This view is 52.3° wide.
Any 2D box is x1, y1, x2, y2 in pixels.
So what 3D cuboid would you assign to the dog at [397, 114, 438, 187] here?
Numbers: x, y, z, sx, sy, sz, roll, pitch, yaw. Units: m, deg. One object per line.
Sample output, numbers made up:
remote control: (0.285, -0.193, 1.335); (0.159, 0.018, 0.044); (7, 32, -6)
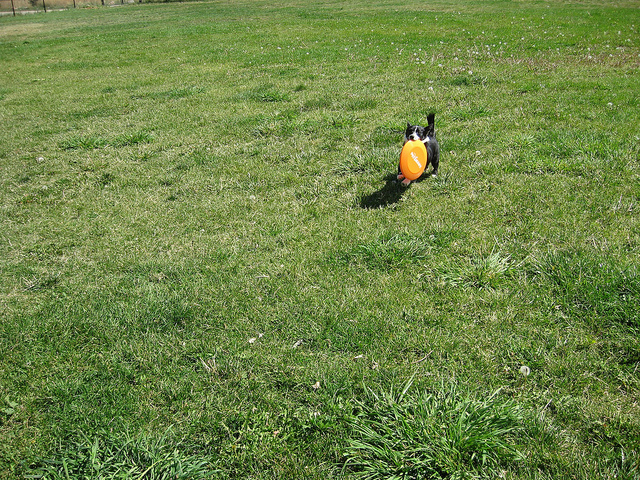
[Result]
dog: (2.372, -2.190, 15.399); (0.639, 1.648, 2.178); (3, 13, 22)
